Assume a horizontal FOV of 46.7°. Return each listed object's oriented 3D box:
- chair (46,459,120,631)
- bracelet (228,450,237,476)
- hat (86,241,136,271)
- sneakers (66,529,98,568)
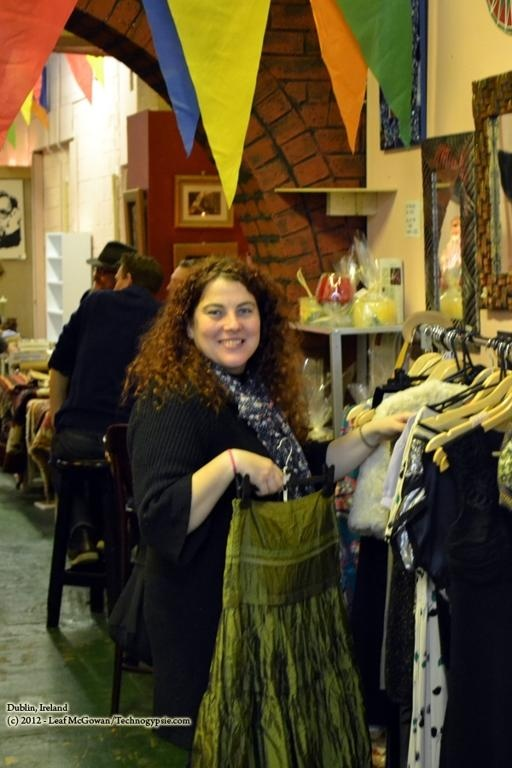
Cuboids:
[{"bbox_3d":[-0.842,0.692,2.970,0.333,0.818,0.457,0,13,-4],"label":"chair"},{"bbox_3d":[-0.038,0.127,0.962,0.004,0.032,0.025,-4,5,6],"label":"bracelet"},{"bbox_3d":[-0.845,-0.776,3.552,0.225,0.150,0.254,8,15,44],"label":"hat"},{"bbox_3d":[-0.862,0.815,2.961,0.081,0.162,0.278,-1,-3,-4],"label":"sneakers"}]
